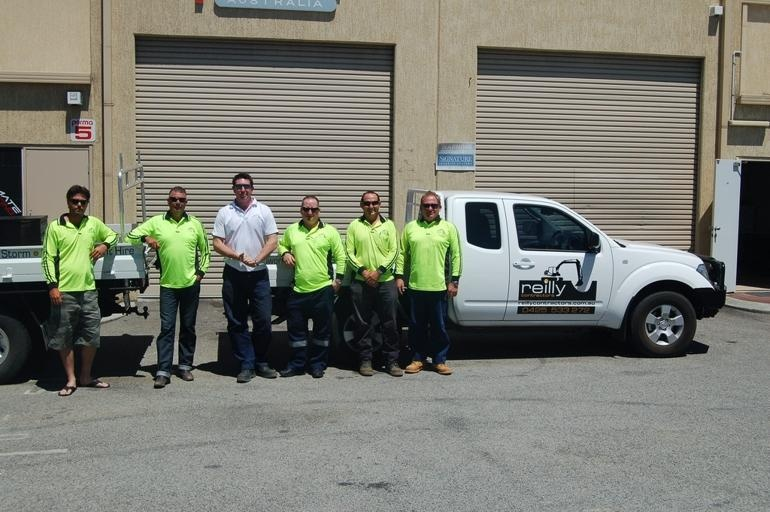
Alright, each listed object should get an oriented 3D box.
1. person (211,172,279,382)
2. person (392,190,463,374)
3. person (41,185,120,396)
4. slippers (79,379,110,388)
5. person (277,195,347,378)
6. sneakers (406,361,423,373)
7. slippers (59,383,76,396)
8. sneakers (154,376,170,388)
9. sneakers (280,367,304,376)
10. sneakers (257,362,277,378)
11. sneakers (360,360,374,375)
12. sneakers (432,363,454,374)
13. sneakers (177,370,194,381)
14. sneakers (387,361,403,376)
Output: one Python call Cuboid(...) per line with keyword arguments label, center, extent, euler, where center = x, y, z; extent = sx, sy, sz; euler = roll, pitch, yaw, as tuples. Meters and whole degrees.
Cuboid(label="person", center=(-1.945, 0.314, 11.739), extent=(0.880, 2.845, 0.821), euler=(-3, 14, -9))
Cuboid(label="person", center=(0.619, 0.407, 11.962), extent=(0.918, 2.480, 0.703), euler=(1, 14, 4))
Cuboid(label="person", center=(-4.147, 0.434, 11.215), extent=(0.909, 2.685, 0.570), euler=(-11, 17, -38))
Cuboid(label="slippers", center=(-4.008, 1.749, 11.426), extent=(0.383, 0.107, 0.152), euler=(0, 1, 0))
Cuboid(label="person", center=(-1.041, 0.454, 11.828), extent=(0.918, 2.481, 0.704), euler=(-2, 14, -6))
Cuboid(label="sneakers", center=(0.428, 1.620, 12.087), extent=(0.123, 0.120, 0.273), euler=(-2, -6, 37))
Cuboid(label="slippers", center=(-4.278, 1.786, 11.157), extent=(0.231, 0.125, 0.253), euler=(-6, 16, -22))
Cuboid(label="sneakers", center=(-3.087, 1.711, 11.451), extent=(0.215, 0.159, 0.218), euler=(-4, 15, -16))
Cuboid(label="sneakers", center=(-1.325, 1.667, 11.910), extent=(0.358, 0.158, 0.122), euler=(7, 5, -28))
Cuboid(label="sneakers", center=(-1.696, 1.634, 11.863), extent=(0.138, 0.146, 0.350), euler=(-3, 3, -41))
Cuboid(label="sneakers", center=(-0.277, 1.609, 11.951), extent=(0.171, 0.141, 0.339), euler=(0, -4, -5))
Cuboid(label="sneakers", center=(0.835, 1.614, 11.932), extent=(0.130, 0.101, 0.243), euler=(0, -4, -25))
Cuboid(label="sneakers", center=(-2.801, 1.677, 11.674), extent=(0.109, 0.097, 0.222), euler=(-3, 1, -31))
Cuboid(label="sneakers", center=(0.131, 1.603, 11.940), extent=(0.284, 0.190, 0.226), euler=(3, 15, 13))
